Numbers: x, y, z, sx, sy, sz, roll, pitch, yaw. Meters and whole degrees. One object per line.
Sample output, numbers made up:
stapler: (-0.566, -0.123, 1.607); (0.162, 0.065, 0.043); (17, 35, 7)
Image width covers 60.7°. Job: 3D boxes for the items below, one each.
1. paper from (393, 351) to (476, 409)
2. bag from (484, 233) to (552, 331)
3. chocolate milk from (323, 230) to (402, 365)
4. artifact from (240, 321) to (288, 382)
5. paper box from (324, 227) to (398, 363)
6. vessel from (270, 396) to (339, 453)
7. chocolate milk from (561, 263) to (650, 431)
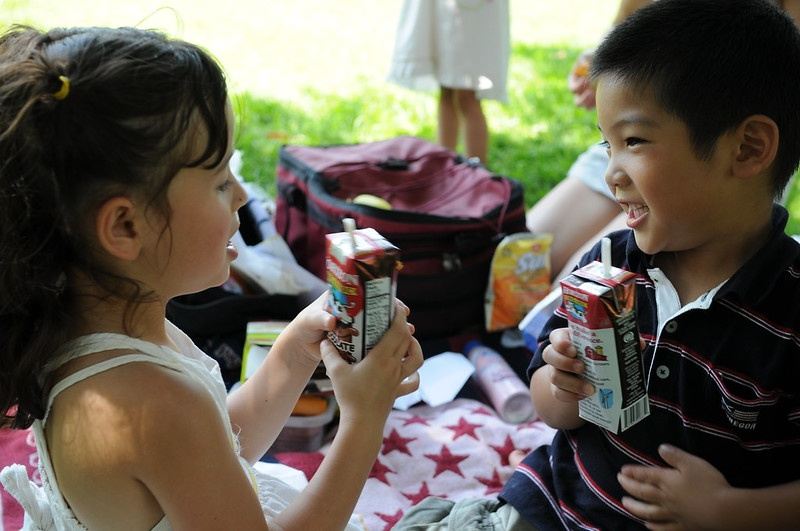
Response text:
paper: (0.163, 0.399, 2.567); (0.199, 0.054, 0.278); (27, 25, 19)
bag: (0.476, 0.068, 2.816); (0.328, 0.364, 0.130); (-14, 17, -35)
chocolate milk: (-0.085, 0.082, 1.533); (0.113, 0.304, 0.188); (-5, 31, -21)
artifact: (-0.489, 0.283, 2.371); (0.166, 0.237, 0.071); (3, -7, -2)
paper box: (-0.086, 0.077, 1.527); (0.106, 0.284, 0.177); (-6, 35, -18)
vessel: (-0.318, 0.555, 2.268); (0.187, 0.143, 0.189); (0, 14, 0)
chocolate milk: (0.470, 0.193, 1.566); (0.180, 0.379, 0.148); (-13, 19, -36)
